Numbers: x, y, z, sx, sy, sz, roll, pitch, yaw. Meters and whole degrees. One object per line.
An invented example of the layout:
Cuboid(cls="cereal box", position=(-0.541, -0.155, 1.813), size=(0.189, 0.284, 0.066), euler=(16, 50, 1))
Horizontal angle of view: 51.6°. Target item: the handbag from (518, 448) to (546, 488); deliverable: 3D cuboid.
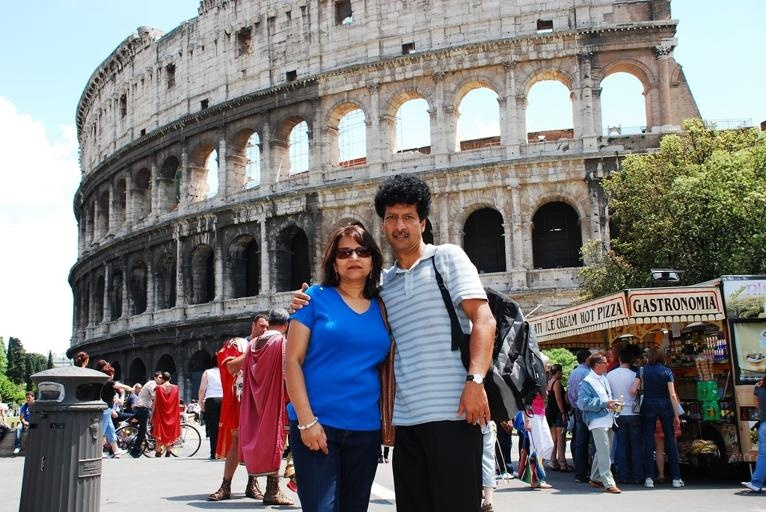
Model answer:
Cuboid(cls="handbag", position=(2.855, 4.070, 15.193), size=(0.195, 0.391, 0.909), euler=(28, -11, 8))

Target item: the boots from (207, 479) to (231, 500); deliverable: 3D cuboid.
Cuboid(cls="boots", position=(-2.719, 3.933, 13.357), size=(0.436, 0.311, 0.319), euler=(5, -9, -29))

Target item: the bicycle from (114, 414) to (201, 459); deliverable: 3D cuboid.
Cuboid(cls="bicycle", position=(-5.778, 4.640, 20.518), size=(2.039, 1.205, 0.984), euler=(0, -3, -11))

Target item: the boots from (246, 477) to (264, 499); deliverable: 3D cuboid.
Cuboid(cls="boots", position=(-2.163, 3.877, 13.369), size=(0.288, 0.397, 0.403), euler=(2, -8, -9))
